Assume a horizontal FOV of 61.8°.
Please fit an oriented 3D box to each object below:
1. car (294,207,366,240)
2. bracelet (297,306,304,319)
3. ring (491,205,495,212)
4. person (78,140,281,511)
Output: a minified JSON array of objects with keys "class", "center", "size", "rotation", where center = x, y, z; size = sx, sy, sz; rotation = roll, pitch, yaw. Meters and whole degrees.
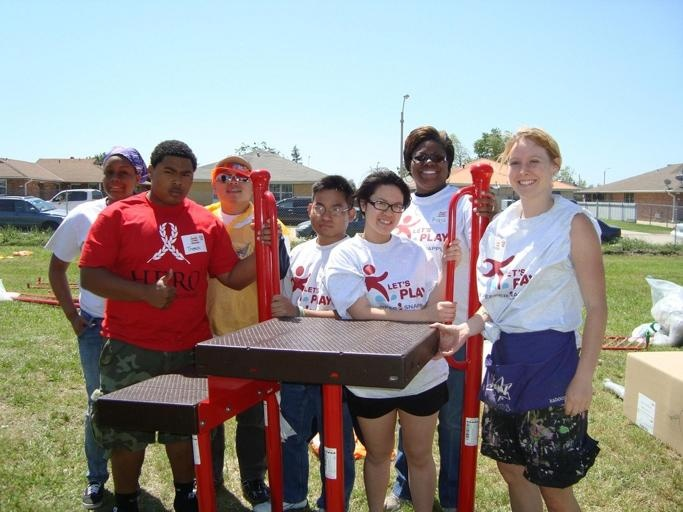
[{"class":"car","center":[-0.396,-0.913,18.621],"size":[1.859,1.053,1.285],"rotation":[0,5,3]},{"class":"bracelet","center":[-0.255,0.352,3.593],"size":[0.041,0.047,0.044],"rotation":[-3,4,-4]},{"class":"ring","center":[0.935,-0.288,3.510],"size":[0.008,0.034,0.032],"rotation":[6,9,24]},{"class":"person","center":[-1.114,0.574,3.658],"size":[0.945,2.563,0.714],"rotation":[-5,12,-27]}]
